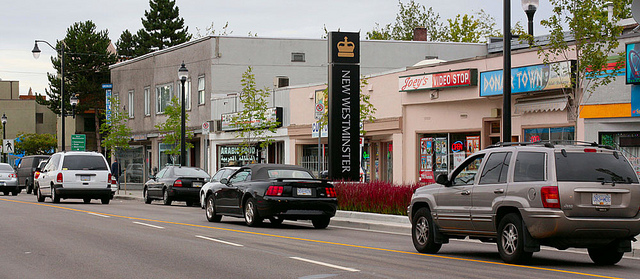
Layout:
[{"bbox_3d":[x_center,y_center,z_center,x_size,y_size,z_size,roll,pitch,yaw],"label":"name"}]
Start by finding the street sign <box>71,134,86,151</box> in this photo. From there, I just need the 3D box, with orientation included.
[{"bbox_3d":[-27.112,0.323,61.043,2.504,2.093,0.340,0,5,-18],"label":"street sign"}]

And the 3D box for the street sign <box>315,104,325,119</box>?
[{"bbox_3d":[0.064,-1.852,34.378,0.437,1.111,1.218,1,-6,-4],"label":"street sign"}]
